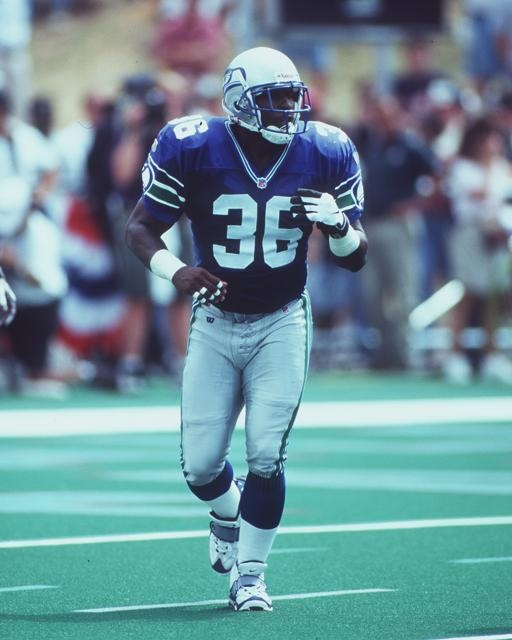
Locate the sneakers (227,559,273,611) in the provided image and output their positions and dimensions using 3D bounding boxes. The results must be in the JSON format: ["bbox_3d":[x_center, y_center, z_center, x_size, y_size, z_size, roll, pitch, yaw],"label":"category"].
[{"bbox_3d":[-0.015,0.789,2.517,0.126,0.129,0.174,-1,-2,-3],"label":"sneakers"}]

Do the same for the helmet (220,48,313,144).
[{"bbox_3d":[0.029,-0.688,2.576,0.266,0.328,0.252,-1,-2,2],"label":"helmet"}]

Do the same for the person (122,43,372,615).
[{"bbox_3d":[-0.030,0.003,2.577,0.734,1.700,0.580,-1,-2,5],"label":"person"}]

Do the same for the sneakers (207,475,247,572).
[{"bbox_3d":[-0.105,0.697,2.865,0.135,0.322,0.155,3,16,2],"label":"sneakers"}]
